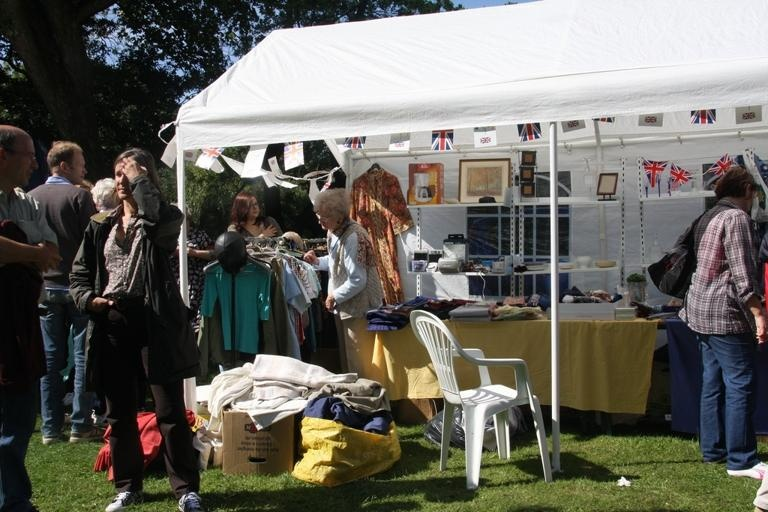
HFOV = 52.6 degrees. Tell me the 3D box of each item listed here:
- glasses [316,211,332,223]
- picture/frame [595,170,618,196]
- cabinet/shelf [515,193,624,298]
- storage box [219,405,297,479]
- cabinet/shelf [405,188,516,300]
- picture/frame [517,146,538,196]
[{"bbox_3d":[-0.555,-0.347,7.276,0.108,0.054,0.139,32,2,37],"label":"glasses"},{"bbox_3d":[2.414,-0.773,8.409,0.251,0.340,0.240,2,7,16],"label":"picture/frame"},{"bbox_3d":[2.099,-0.133,8.655,1.223,1.171,0.389,0,2,12],"label":"cabinet/shelf"},{"bbox_3d":[-1.067,1.574,6.631,0.527,0.518,0.566,0,1,-1],"label":"storage box"},{"bbox_3d":[0.952,-0.160,9.177,1.347,1.151,0.447,0,-4,6],"label":"cabinet/shelf"},{"bbox_3d":[1.599,-0.911,8.685,0.190,0.488,0.234,2,15,9],"label":"picture/frame"}]
